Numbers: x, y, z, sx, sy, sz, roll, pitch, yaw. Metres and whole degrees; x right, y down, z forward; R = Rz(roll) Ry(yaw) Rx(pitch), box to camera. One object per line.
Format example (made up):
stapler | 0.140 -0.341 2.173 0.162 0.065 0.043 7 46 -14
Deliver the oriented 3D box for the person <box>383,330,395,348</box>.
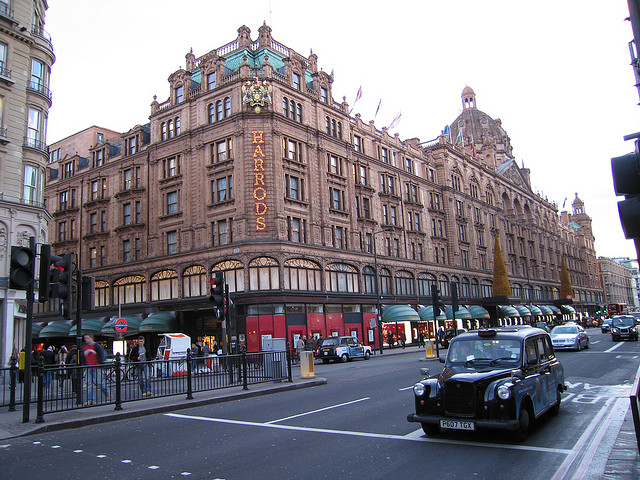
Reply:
person | 6.444 9.359 51.536 1.407 1.937 0.687 -7 -39 11

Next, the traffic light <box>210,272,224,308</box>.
traffic light | -4.243 2.155 22.698 0.497 1.265 0.534 -3 -14 -10

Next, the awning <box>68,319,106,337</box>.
awning | -20.343 7.626 48.262 2.831 1.507 4.432 0 -14 -21

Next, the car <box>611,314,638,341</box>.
car | 23.019 6.828 41.591 1.311 1.409 2.695 -8 -27 27

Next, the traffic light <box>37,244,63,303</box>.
traffic light | -8.586 0.974 17.378 0.587 1.924 1.202 -2 -14 -15

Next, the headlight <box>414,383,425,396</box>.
headlight | 2.482 3.733 13.687 0.272 0.263 0.259 -4 -9 34

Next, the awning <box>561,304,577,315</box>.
awning | 41.069 11.621 91.248 1.810 1.651 1.811 -3 -7 36

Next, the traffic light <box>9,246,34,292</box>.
traffic light | -8.933 0.816 16.445 0.466 1.322 0.803 -12 -16 26

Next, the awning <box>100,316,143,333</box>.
awning | -16.379 7.164 46.353 4.897 1.543 1.405 -15 -17 36

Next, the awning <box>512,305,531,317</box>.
awning | 27.653 9.671 75.199 2.165 1.065 2.130 -5 -9 21

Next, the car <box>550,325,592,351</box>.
car | 15.648 6.095 34.092 1.515 0.951 3.129 -11 -21 32

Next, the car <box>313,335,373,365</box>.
car | 1.715 7.570 38.267 3.570 1.331 1.921 2 -8 -39

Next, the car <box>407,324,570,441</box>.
car | 4.446 3.651 14.201 4.412 2.830 2.056 6 -18 -38

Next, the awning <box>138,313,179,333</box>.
awning | -13.000 6.712 44.443 3.007 1.672 1.891 2 -15 -27

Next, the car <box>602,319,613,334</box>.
car | 28.872 8.712 55.213 0.926 1.401 2.168 -12 -15 25

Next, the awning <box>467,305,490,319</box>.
awning | 18.480 8.433 64.050 1.810 0.801 1.880 -7 -12 30
